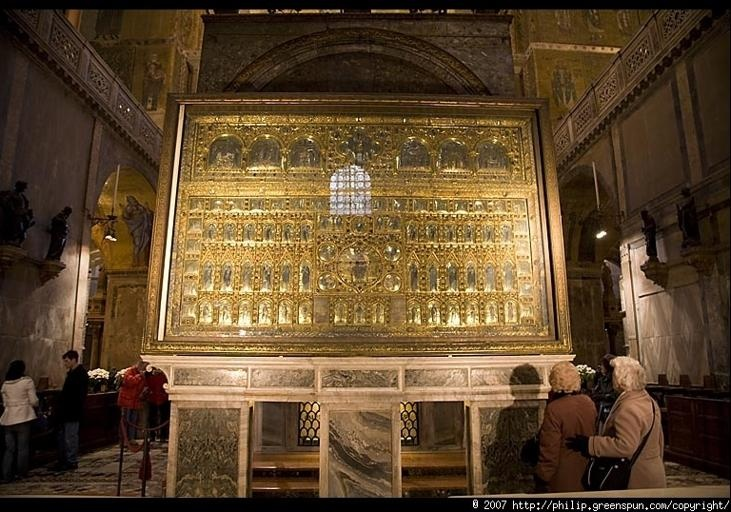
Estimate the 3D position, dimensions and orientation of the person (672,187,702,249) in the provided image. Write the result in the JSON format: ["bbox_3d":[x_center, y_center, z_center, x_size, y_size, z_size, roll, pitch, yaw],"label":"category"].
[{"bbox_3d":[7.664,-0.925,13.572,0.425,1.566,0.520,-9,-16,29],"label":"person"}]

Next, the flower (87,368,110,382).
[{"bbox_3d":[-7.042,3.142,15.025,0.473,0.219,0.461,9,-2,-12],"label":"flower"}]

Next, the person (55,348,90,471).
[{"bbox_3d":[-6.189,3.249,12.007,0.510,2.426,0.857,6,-16,-26],"label":"person"}]

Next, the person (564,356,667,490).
[{"bbox_3d":[3.255,2.142,7.332,0.997,1.644,0.423,-5,-15,16],"label":"person"}]

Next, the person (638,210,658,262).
[{"bbox_3d":[7.595,-0.574,15.253,0.372,1.476,0.727,-8,-16,26],"label":"person"}]

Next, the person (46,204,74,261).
[{"bbox_3d":[-7.867,-0.604,14.684,0.449,1.702,1.054,6,-16,-24],"label":"person"}]
